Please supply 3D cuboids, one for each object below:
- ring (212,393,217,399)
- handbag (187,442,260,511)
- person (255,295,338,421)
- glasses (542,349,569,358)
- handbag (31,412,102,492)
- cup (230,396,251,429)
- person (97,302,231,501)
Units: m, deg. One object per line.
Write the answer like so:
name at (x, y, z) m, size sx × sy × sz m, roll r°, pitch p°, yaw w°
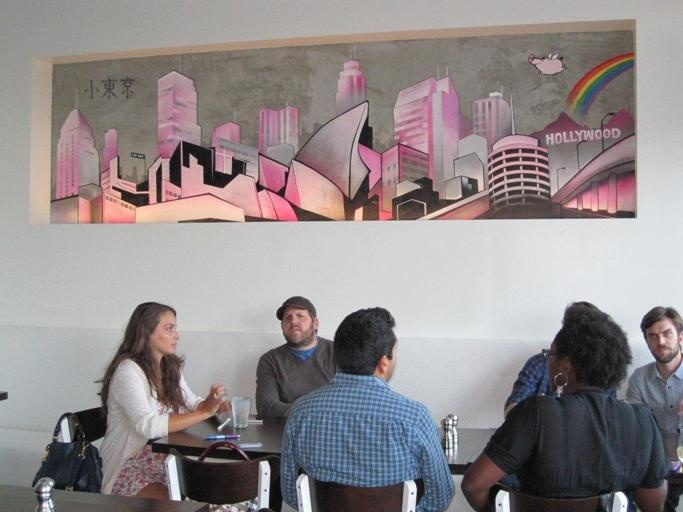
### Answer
ring at (-0.627, 0.688, 3.836) m, size 0.026 × 0.031 × 0.007 m, roll 1°, pitch 2°, yaw 10°
handbag at (-0.497, 0.937, 3.304) m, size 0.251 × 0.211 × 0.266 m, roll -2°, pitch -7°, yaw 34°
person at (-0.243, 0.577, 4.320) m, size 0.470 × 0.800 × 0.482 m, roll -4°, pitch -19°, yaw 3°
glasses at (0.858, 0.394, 3.126) m, size 0.108 × 0.034 × 0.025 m, roll -1°, pitch 3°, yaw 43°
handbag at (-1.285, 0.946, 3.646) m, size 0.297 × 0.412 × 0.167 m, roll -1°, pitch -17°, yaw 1°
cup at (-0.478, 0.777, 3.854) m, size 0.104 × 0.135 × 0.117 m, roll -1°, pitch -17°, yaw 7°
person at (-0.854, 0.776, 3.958) m, size 0.655 × 1.003 × 0.715 m, roll 2°, pitch 5°, yaw -43°
